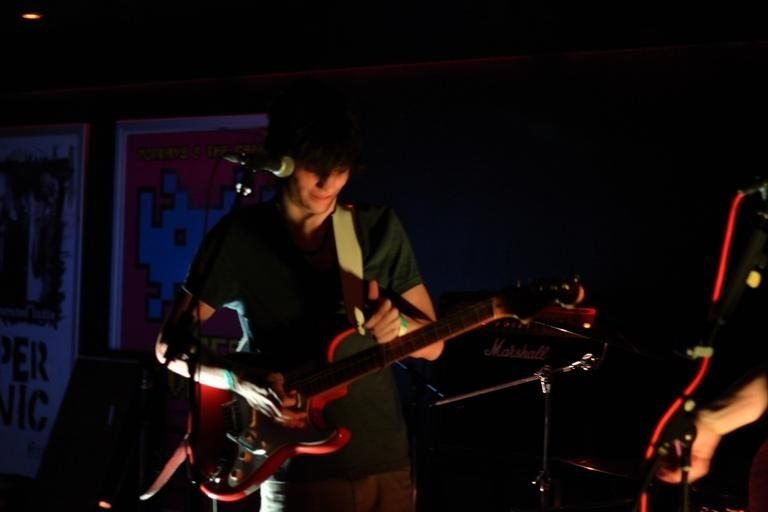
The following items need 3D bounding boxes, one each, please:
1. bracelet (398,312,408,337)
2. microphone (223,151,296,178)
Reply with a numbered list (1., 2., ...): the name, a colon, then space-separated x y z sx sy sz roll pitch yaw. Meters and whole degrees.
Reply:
1. bracelet: 0.102 0.380 3.989 0.041 0.126 0.039 2 -34 8
2. microphone: -0.729 -0.498 3.943 0.456 0.134 0.140 4 41 -12
